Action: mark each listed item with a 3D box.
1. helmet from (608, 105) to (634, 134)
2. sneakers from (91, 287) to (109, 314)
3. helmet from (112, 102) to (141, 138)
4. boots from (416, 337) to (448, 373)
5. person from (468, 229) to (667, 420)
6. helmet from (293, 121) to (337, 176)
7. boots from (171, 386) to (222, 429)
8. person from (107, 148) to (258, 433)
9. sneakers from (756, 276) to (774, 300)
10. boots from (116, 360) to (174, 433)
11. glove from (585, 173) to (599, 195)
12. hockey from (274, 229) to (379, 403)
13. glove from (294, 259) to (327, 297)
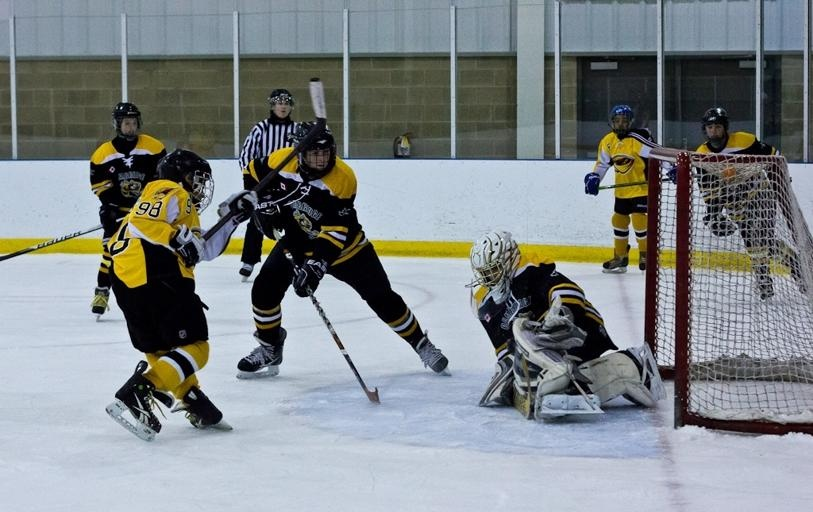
[{"bbox_3d":[2.061,-1.306,10.317,0.287,0.279,0.318,0,-7,11],"label":"helmet"},{"bbox_3d":[-2.392,0.358,8.288,0.148,0.205,0.085,12,-23,2],"label":"sneakers"},{"bbox_3d":[-2.259,-1.085,8.577,0.208,0.277,0.241,-4,7,-16],"label":"helmet"},{"bbox_3d":[0.183,0.667,7.014,0.149,0.112,0.316,39,4,-34],"label":"boots"},{"bbox_3d":[0.936,0.413,6.610,0.937,1.128,1.325,-6,2,-30],"label":"person"},{"bbox_3d":[-0.637,-0.735,6.985,0.283,0.323,0.352,-3,26,-11],"label":"helmet"},{"bbox_3d":[-1.126,0.883,6.192,0.415,0.250,0.133,1,13,9],"label":"boots"},{"bbox_3d":[-1.449,0.200,6.318,0.684,1.630,0.664,-3,7,-10],"label":"person"},{"bbox_3d":[2.298,0.203,6.799,0.108,0.135,0.037,0,-15,20],"label":"sneakers"},{"bbox_3d":[-1.523,0.830,6.103,0.188,0.435,0.357,5,10,43],"label":"boots"},{"bbox_3d":[1.751,-0.681,10.115,0.162,0.185,0.073,1,2,-38],"label":"glove"},{"bbox_3d":[-0.546,0.423,7.213,0.046,1.328,0.202,-44,-6,34],"label":"hockey"},{"bbox_3d":[-0.607,0.129,6.810,0.105,0.229,0.246,33,9,32],"label":"glove"}]
